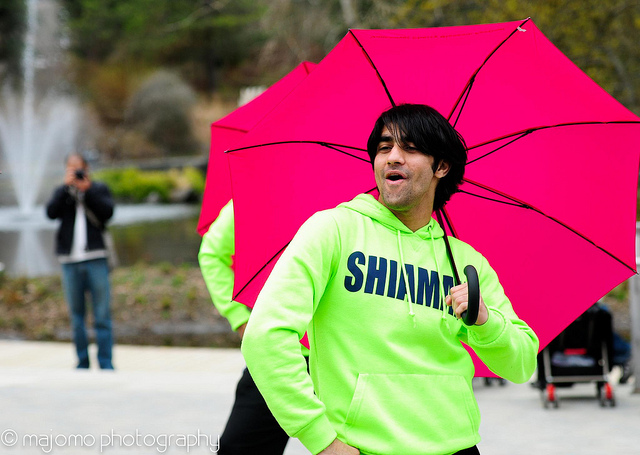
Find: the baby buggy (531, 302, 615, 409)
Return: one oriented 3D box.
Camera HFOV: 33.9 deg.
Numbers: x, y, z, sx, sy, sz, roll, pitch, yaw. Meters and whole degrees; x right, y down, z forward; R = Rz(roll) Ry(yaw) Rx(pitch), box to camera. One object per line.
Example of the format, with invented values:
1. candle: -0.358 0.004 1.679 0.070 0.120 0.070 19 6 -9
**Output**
1. baby buggy: 2.595 1.260 10.780 0.726 1.019 1.078 -4 -2 12
